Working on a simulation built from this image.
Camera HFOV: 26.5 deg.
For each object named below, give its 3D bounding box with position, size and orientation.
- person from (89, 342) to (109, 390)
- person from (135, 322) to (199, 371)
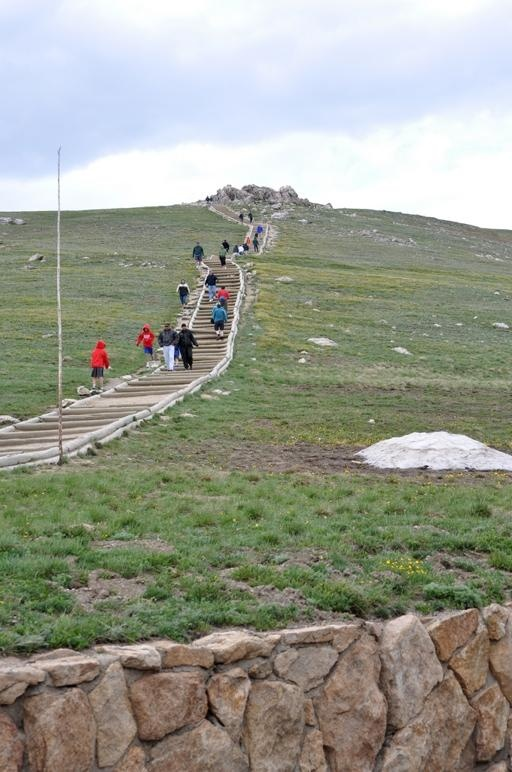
[{"bbox_3d":[-3.503,-0.470,24.383,0.333,1.110,1.182,3,10,-8],"label":"person"},{"bbox_3d":[-2.396,-1.022,29.432,2.002,1.428,0.714,0,-22,-5],"label":"person"}]
